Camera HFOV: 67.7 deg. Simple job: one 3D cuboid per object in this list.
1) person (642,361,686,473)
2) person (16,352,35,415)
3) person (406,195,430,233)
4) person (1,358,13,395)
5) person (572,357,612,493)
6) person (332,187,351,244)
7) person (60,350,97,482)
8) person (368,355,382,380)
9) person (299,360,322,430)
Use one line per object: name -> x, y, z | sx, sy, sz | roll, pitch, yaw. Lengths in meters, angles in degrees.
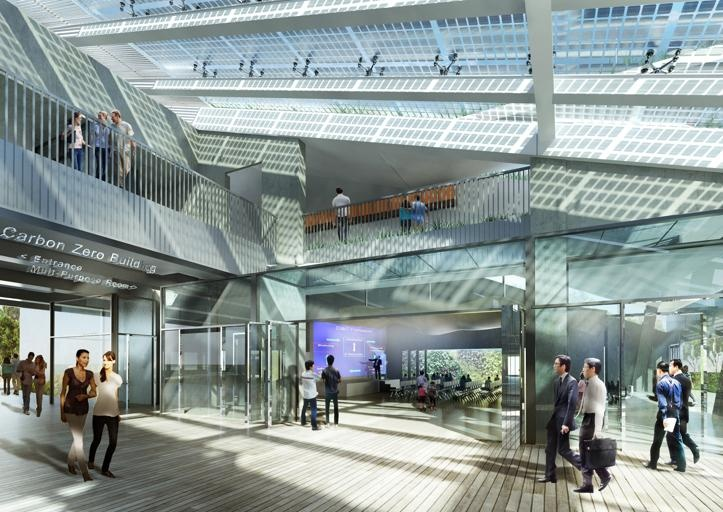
person -> 6.135, 3.220, 10.882 | 0.615, 2.076, 0.628 | 1, -4, -22
person -> -10.777, 4.051, 17.390 | 0.447, 2.002, 1.292 | 2, -5, -32
person -> 1.712, -1.192, 16.067 | 0.531, 0.996, 0.648 | 0, -4, 5
person -> -12.516, 4.208, 19.121 | 0.317, 1.381, 0.660 | 2, -4, -33
person -> 4.111, 3.047, 9.714 | 0.550, 2.401, 0.638 | -2, -4, 27
person -> -0.646, -1.390, 17.707 | 0.514, 1.944, 1.311 | 0, -4, -3
person -> -5.512, 3.021, 10.544 | 0.594, 2.431, 1.201 | 2, -4, -28
person -> 0.693, 5.181, 25.277 | 0.403, 1.125, 1.151 | -1, -4, 18
person -> -1.420, 3.764, 14.829 | 0.451, 1.778, 1.090 | 0, -4, -6
